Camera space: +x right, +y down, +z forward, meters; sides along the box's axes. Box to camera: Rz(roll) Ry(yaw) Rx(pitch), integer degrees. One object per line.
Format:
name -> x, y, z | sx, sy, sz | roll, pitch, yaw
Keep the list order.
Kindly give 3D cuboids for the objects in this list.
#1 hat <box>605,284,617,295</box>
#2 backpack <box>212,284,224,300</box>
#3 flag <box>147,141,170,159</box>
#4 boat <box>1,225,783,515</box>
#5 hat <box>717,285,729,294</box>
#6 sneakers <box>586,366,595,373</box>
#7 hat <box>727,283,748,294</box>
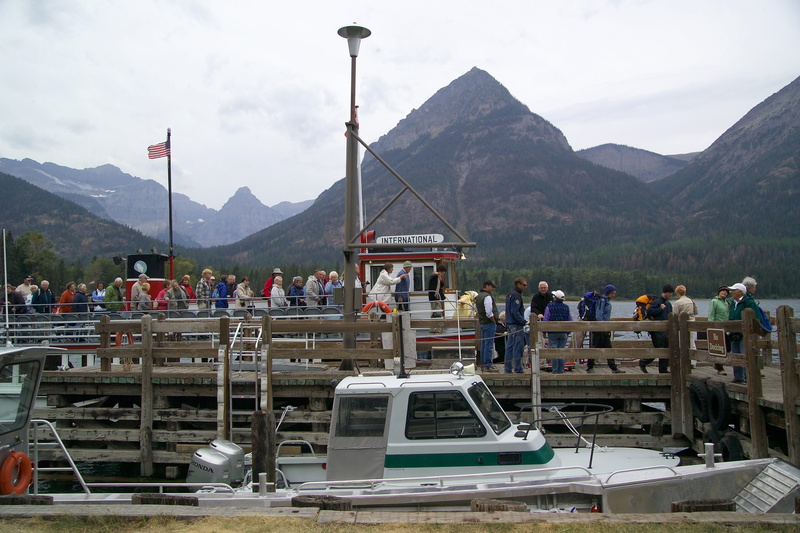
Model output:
hat -> 6.754, 0.797, 38.138 | 0.401, 0.411, 0.313 | -15, 20, -40
backpack -> -6.674, 0.993, 42.856 | 0.469, 0.667, 0.352 | 1, -5, 7
flag -> -12.451, -5.764, 60.213 | 0.832, 0.850, 1.974 | 0, -3, -17
boat -> -0.794, 3.980, 35.758 | 21.499, 6.047, 9.356 | -1, -2, 3
hat -> 10.312, 0.797, 37.740 | 0.395, 0.189, 0.565 | 0, -3, 1
sneakers -> 6.022, 3.355, 37.426 | 0.128, 0.167, 0.235 | -4, -14, -7
hat -> 10.092, 0.679, 35.104 | 0.429, 0.230, 0.315 | 8, 3, 36
